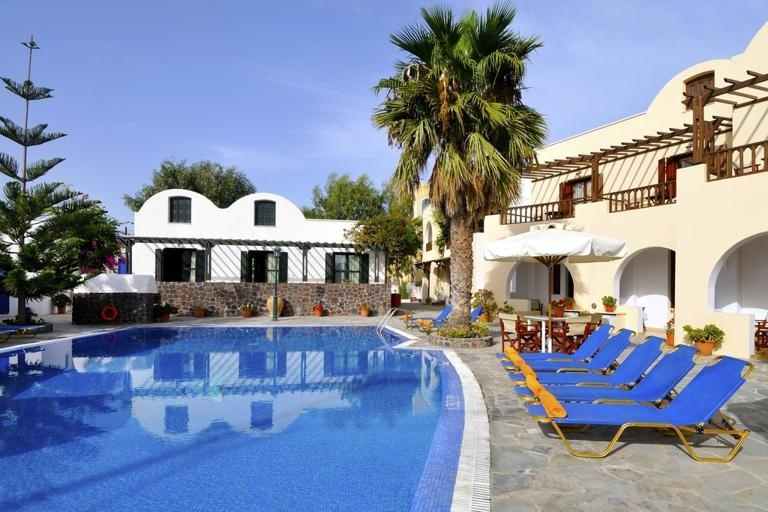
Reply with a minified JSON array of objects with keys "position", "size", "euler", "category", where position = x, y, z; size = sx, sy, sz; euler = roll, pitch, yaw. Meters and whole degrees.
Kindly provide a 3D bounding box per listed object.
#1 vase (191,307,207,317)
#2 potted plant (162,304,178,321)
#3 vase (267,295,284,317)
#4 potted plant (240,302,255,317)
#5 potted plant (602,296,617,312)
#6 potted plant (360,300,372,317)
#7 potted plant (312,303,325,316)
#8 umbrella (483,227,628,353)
[{"position":[-9.346,2.843,33.097],"size":[0.464,0.328,0.490],"euler":[-1,-11,-2],"category":"vase"},{"position":[-10.436,2.732,31.502],"size":[0.616,0.690,0.596],"euler":[6,-6,-44],"category":"potted plant"},{"position":[-5.653,2.571,33.727],"size":[0.833,1.049,0.933],"euler":[-2,-12,6],"category":"vase"},{"position":[-7.015,2.785,33.372],"size":[0.542,0.562,0.583],"euler":[2,-13,-14],"category":"potted plant"},{"position":[9.034,1.899,26.268],"size":[0.572,0.639,0.502],"euler":[1,1,44],"category":"potted plant"},{"position":[-1.004,2.827,34.665],"size":[0.530,0.783,0.640],"euler":[1,-17,-6],"category":"potted plant"},{"position":[-3.427,2.807,33.969],"size":[0.536,0.588,0.556],"euler":[0,-4,-27],"category":"potted plant"},{"position":[5.881,0.989,23.812],"size":[4.000,4.115,4.410],"euler":[0,-2,-4],"category":"umbrella"}]
